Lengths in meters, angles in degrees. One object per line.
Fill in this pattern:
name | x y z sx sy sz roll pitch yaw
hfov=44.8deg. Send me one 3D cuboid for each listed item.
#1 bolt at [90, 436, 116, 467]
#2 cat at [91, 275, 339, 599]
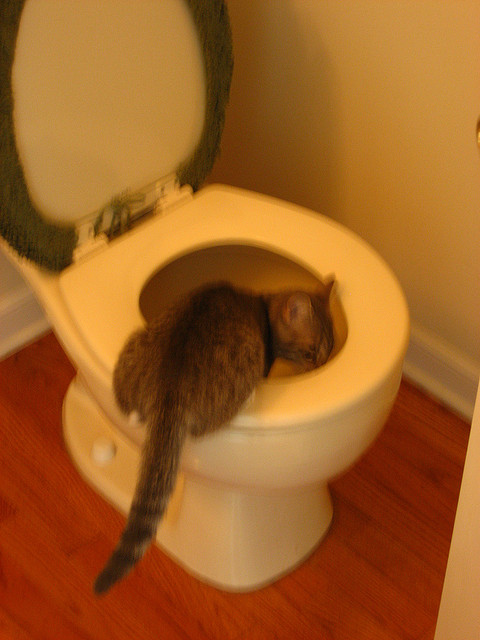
bolt | -0.223 0.214 0.949 0.034 0.010 0.046 -3 76 12
cat | -0.024 0.134 0.678 0.128 0.158 0.404 29 67 15
